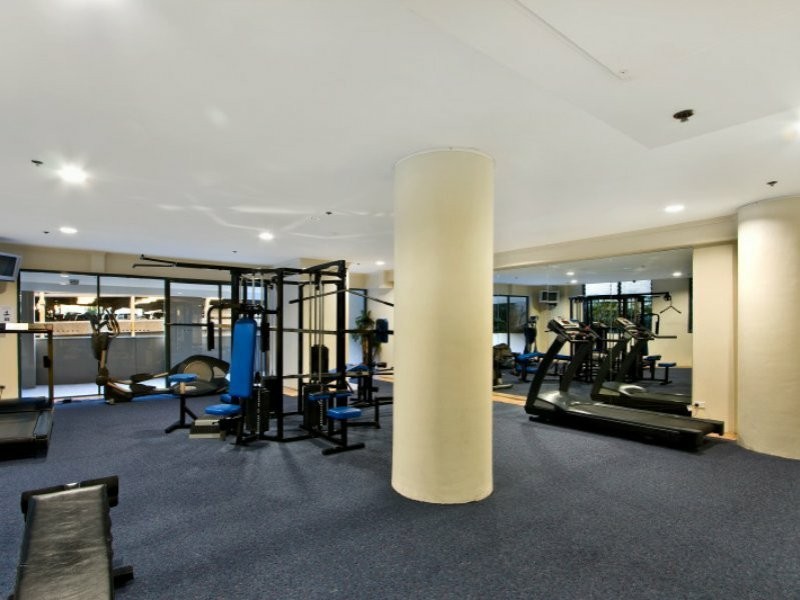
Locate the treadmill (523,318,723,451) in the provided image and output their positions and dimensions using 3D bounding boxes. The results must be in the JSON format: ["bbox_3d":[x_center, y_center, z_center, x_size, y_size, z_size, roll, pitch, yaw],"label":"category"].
[{"bbox_3d":[3.152,0.984,7.534,1.904,1.413,2.345,-6,10,-41],"label":"treadmill"}]

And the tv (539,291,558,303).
[{"bbox_3d":[2.468,-0.065,9.201,0.159,0.196,0.293,-1,4,-29],"label":"tv"}]

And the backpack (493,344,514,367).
[{"bbox_3d":[1.888,1.010,10.197,0.359,0.456,0.165,1,-9,-33],"label":"backpack"}]

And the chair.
[{"bbox_3d":[-1.987,0.924,6.504,0.611,1.412,0.447,-1,0,-45],"label":"chair"}]
